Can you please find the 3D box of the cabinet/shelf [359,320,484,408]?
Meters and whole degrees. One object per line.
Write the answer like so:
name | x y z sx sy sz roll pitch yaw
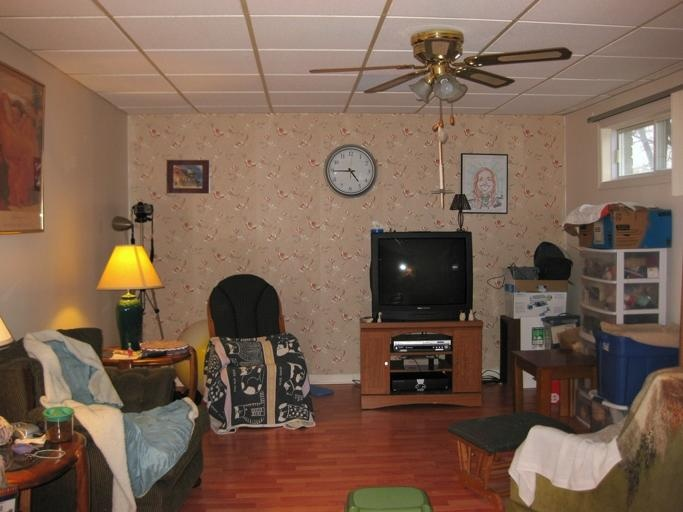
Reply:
cabinet/shelf | 0.757 1.022 5.476 1.131 0.821 0.402 -1 5 2

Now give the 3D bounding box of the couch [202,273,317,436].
couch | -0.784 0.803 5.199 0.893 1.051 1.291 2 15 -20

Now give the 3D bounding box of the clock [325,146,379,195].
clock | 0.101 -0.888 5.948 0.527 0.530 0.543 0 -10 13

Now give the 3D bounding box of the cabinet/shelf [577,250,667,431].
cabinet/shelf | 2.228 0.520 4.972 0.712 1.434 0.544 7 2 6

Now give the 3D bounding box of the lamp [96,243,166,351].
lamp | -1.727 0.349 4.832 0.523 0.891 0.525 -7 9 -8

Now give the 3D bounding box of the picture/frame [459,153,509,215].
picture/frame | 1.473 -0.787 5.979 0.648 0.860 0.030 0 -2 -6

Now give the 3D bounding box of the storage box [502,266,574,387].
storage box | 2.120 0.806 5.749 0.670 1.120 0.611 -2 -17 43

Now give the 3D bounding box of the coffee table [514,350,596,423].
coffee table | 1.947 1.150 4.778 0.604 0.437 0.617 -2 -13 -9

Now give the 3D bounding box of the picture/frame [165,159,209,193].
picture/frame | -1.615 -0.844 5.859 0.337 0.287 0.023 0 -1 -5

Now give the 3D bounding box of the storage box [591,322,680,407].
storage box | 2.174 0.814 4.467 0.632 0.735 0.638 1 -2 -10

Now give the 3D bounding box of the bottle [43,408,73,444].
bottle | -1.409 0.842 2.879 0.159 0.161 0.158 0 3 -22

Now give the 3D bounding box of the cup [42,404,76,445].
cup | -1.464 0.873 2.942 0.159 0.162 0.161 0 1 0

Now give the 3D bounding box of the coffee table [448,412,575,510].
coffee table | 1.158 1.293 3.924 0.754 0.462 0.597 -5 7 -25

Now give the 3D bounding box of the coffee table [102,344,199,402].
coffee table | -1.520 0.887 4.768 0.535 0.590 0.515 1 0 -16

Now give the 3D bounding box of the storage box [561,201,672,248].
storage box | 2.341 -0.261 4.776 0.497 0.284 0.501 -1 4 -7

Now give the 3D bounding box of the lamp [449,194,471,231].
lamp | 1.228 -0.460 5.870 0.210 0.382 0.300 2 8 12

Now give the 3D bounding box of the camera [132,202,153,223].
camera | -1.966 -0.429 5.697 0.212 0.213 0.215 -2 1 -4

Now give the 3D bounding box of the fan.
fan | 0.658 -1.074 3.487 1.392 0.554 1.388 1 12 24
